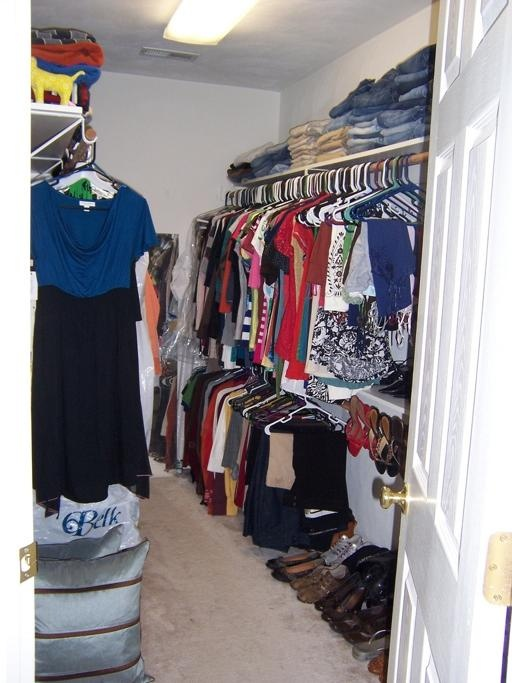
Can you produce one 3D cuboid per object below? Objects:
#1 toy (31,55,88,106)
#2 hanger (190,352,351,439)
[{"bbox_3d":[-0.577,-0.746,1.568,0.145,0.144,0.109,0,5,-25],"label":"toy"},{"bbox_3d":[0.075,0.329,3.066,0.382,0.182,0.522,-3,15,-34],"label":"hanger"}]
